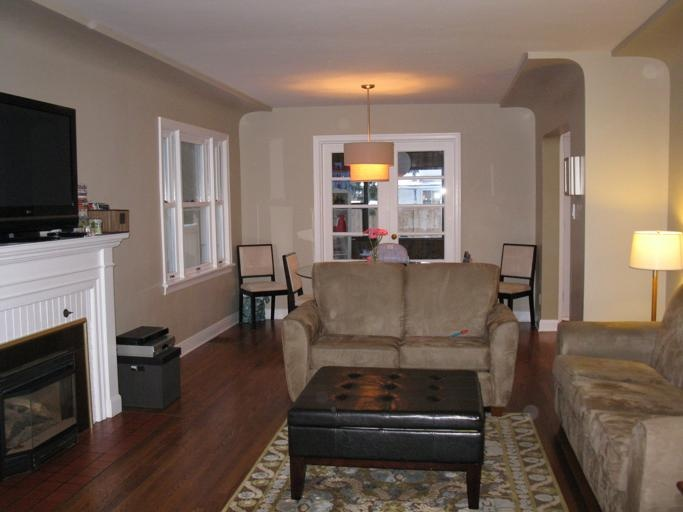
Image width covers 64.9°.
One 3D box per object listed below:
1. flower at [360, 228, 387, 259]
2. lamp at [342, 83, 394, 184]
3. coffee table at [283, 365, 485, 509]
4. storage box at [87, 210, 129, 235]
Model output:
[{"bbox_3d":[0.368,-0.166,5.835,0.381,0.400,0.388,0,-1,0],"label":"flower"},{"bbox_3d":[0.299,-1.353,5.867,0.542,1.052,0.555,0,4,9],"label":"lamp"},{"bbox_3d":[0.307,1.102,3.361,1.112,0.548,0.803,2,10,13],"label":"coffee table"},{"bbox_3d":[-1.832,-0.278,4.228,0.174,0.228,0.333,0,2,28],"label":"storage box"}]
